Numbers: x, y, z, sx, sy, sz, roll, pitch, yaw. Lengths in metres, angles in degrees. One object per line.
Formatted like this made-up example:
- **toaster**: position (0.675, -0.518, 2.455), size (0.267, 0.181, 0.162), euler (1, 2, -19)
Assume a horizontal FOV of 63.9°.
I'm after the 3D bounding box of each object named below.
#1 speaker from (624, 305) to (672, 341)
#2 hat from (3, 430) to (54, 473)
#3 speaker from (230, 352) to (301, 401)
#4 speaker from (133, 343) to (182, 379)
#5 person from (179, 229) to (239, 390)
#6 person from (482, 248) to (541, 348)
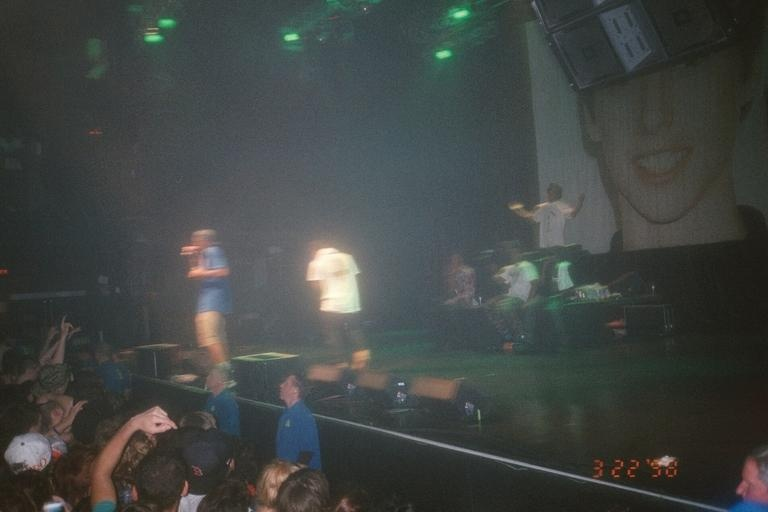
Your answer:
- **speaker**: position (3.735, 0.893, 8.794), size (0.845, 0.520, 0.442), euler (0, 1, -4)
- **hat**: position (-3.250, 1.772, 5.619), size (0.382, 0.345, 0.166), euler (15, -11, -8)
- **speaker**: position (-1.404, 1.376, 7.162), size (0.563, 0.353, 0.547), euler (-1, -7, 22)
- **speaker**: position (-3.096, 1.448, 8.463), size (0.532, 0.359, 0.436), euler (-6, -12, 30)
- **person**: position (-2.514, 0.812, 8.668), size (0.853, 2.396, 0.898), euler (3, -51, -19)
- **person**: position (1.929, 0.646, 9.200), size (0.681, 1.452, 0.814), euler (2, -40, 9)
